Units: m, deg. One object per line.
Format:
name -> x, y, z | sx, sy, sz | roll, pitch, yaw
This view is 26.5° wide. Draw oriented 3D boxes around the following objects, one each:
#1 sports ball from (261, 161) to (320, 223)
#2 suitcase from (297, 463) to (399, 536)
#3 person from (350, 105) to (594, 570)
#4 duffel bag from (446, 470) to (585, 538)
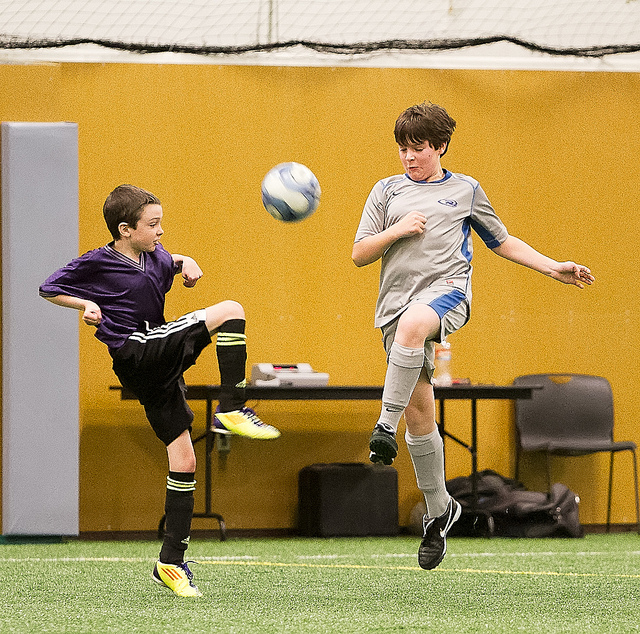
sports ball -> -0.151, -0.549, 6.213 | 0.258, 0.301, 0.257 | -2, -3, 0
suitcase -> 0.289, 1.087, 8.203 | 0.565, 0.399, 0.307 | -4, -1, 21
person -> 0.534, 0.093, 5.951 | 0.800, 1.985, 0.321 | 6, -7, -29
duffel bag -> 1.169, 1.137, 8.340 | 0.881, 0.383, 0.627 | 2, 0, 0
